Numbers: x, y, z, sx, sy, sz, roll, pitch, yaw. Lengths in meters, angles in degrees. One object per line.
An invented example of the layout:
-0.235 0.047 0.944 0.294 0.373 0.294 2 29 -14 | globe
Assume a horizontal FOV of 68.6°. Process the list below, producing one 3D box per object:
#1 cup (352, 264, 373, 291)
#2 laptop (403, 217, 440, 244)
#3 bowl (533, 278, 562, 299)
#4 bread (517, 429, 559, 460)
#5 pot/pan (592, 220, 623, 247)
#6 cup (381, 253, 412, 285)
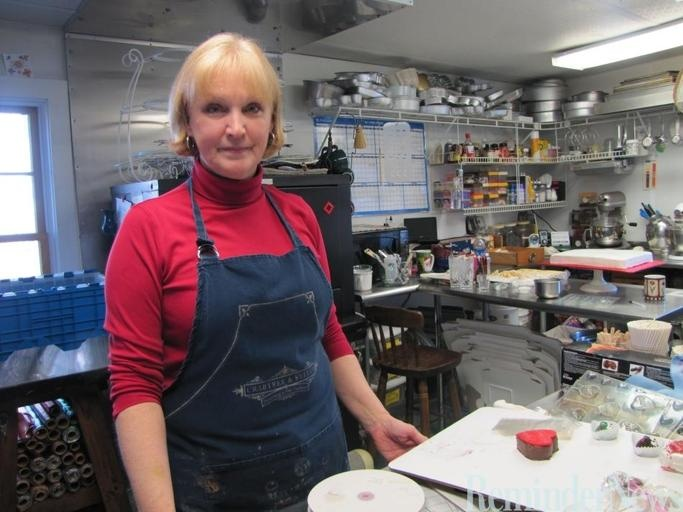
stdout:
0.132 0.152 3.228 0.168 0.135 0.153 -1 -2 0 | cup
0.686 -0.207 4.480 0.416 0.242 0.230 -1 -4 -13 | laptop
1.176 0.193 2.853 0.117 0.078 0.133 -1 -1 0 | bowl
0.429 0.409 1.092 0.066 0.046 0.095 2 9 43 | bread
2.469 -0.192 4.694 0.306 0.188 0.243 -1 0 3 | pot/pan
0.364 0.100 3.383 0.230 0.235 0.202 1 0 21 | cup
